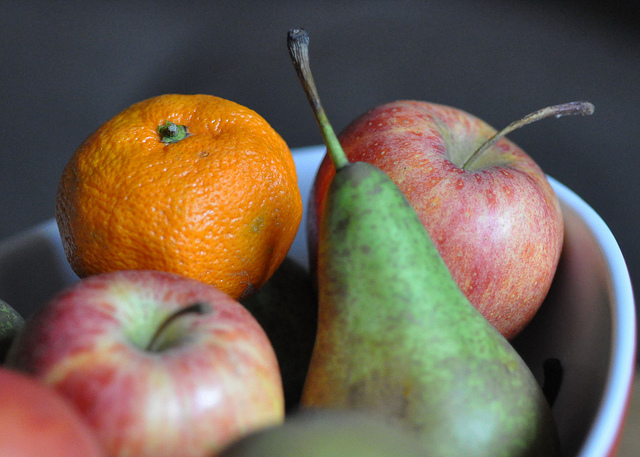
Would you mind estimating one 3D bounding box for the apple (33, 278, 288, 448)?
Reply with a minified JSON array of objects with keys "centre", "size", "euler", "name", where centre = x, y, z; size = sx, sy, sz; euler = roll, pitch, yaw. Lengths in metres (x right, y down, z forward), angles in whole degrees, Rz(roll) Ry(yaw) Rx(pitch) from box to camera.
[{"centre":[-0.160,0.121,0.725],"size":[0.179,0.206,0.175],"euler":[28,5,-21],"name":"apple"}]
